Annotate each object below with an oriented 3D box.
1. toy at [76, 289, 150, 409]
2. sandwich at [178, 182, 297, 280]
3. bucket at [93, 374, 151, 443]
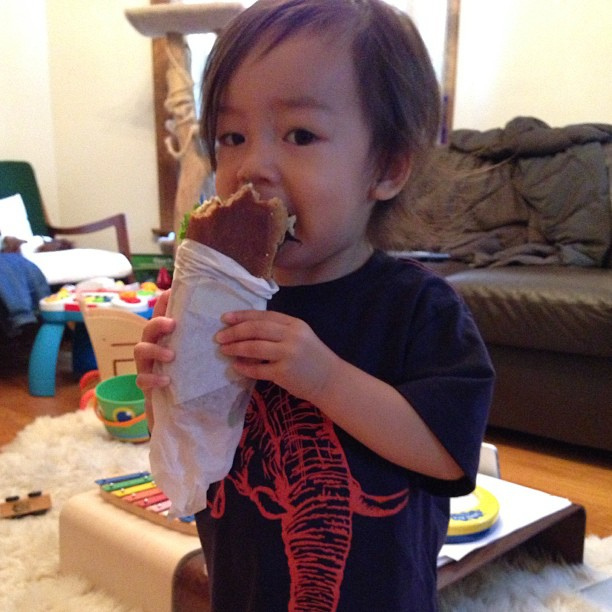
[{"bbox_3d":[-0.623,0.127,1.857,0.269,0.372,0.372,-3,12,-15],"label":"toy"},{"bbox_3d":[-0.070,-0.069,0.556,0.095,0.098,0.026,31,20,18],"label":"sandwich"},{"bbox_3d":[-0.557,0.340,1.805,0.193,0.152,0.192,2,13,0],"label":"bucket"}]
